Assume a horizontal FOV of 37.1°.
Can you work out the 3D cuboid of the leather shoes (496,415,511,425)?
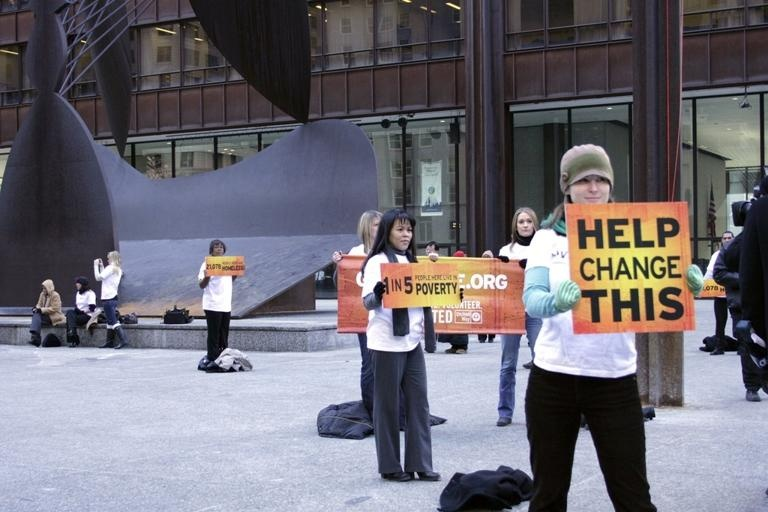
[{"bbox_3d":[2.113,2.867,20.203,0.294,0.139,0.183,-2,10,-4],"label":"leather shoes"}]

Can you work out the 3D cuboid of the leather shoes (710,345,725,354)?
[{"bbox_3d":[7.465,2.095,25.801,0.356,0.236,0.129,4,-11,4],"label":"leather shoes"}]

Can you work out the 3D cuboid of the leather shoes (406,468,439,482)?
[{"bbox_3d":[0.624,3.473,18.404,0.487,0.192,0.188,-4,-2,6],"label":"leather shoes"}]

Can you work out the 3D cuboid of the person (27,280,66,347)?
[{"bbox_3d":[-8.902,1.465,30.055,0.932,1.700,0.499,-5,11,-18],"label":"person"}]

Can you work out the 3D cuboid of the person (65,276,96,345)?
[{"bbox_3d":[-7.971,1.405,29.914,0.821,1.811,0.633,-4,11,-16],"label":"person"}]

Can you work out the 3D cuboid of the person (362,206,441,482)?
[{"bbox_3d":[0.240,1.396,18.528,1.138,4.169,1.312,-2,10,-2],"label":"person"}]

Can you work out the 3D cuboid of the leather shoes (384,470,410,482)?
[{"bbox_3d":[0.206,3.470,18.336,0.405,0.169,0.164,-4,1,9],"label":"leather shoes"}]

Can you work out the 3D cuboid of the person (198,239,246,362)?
[{"bbox_3d":[-3.764,1.051,25.359,0.798,2.744,1.064,-3,10,-9],"label":"person"}]
